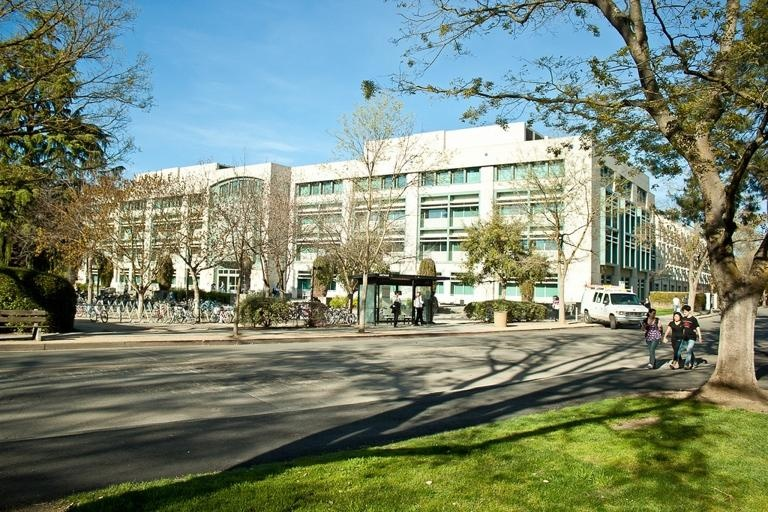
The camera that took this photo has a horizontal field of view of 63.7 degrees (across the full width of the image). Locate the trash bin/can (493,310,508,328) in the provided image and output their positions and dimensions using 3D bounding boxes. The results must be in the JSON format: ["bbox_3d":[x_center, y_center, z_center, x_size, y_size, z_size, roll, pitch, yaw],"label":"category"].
[{"bbox_3d":[7.090,3.862,37.506,0.836,0.952,0.858,0,-1,4],"label":"trash bin/can"}]

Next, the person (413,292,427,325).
[{"bbox_3d":[2.139,3.159,37.869,0.606,2.064,1.202,1,-7,11],"label":"person"}]

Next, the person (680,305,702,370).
[{"bbox_3d":[10.159,2.683,20.441,0.486,2.029,1.480,-1,-7,27],"label":"person"}]

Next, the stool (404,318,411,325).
[{"bbox_3d":[1.535,4.109,38.715,0.330,0.215,0.345,0,1,38],"label":"stool"}]

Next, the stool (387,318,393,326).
[{"bbox_3d":[0.329,4.033,38.070,0.578,0.378,0.319,1,-12,3],"label":"stool"}]

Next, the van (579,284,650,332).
[{"bbox_3d":[14.319,3.094,38.682,2.426,3.019,6.262,2,-8,5],"label":"van"}]
